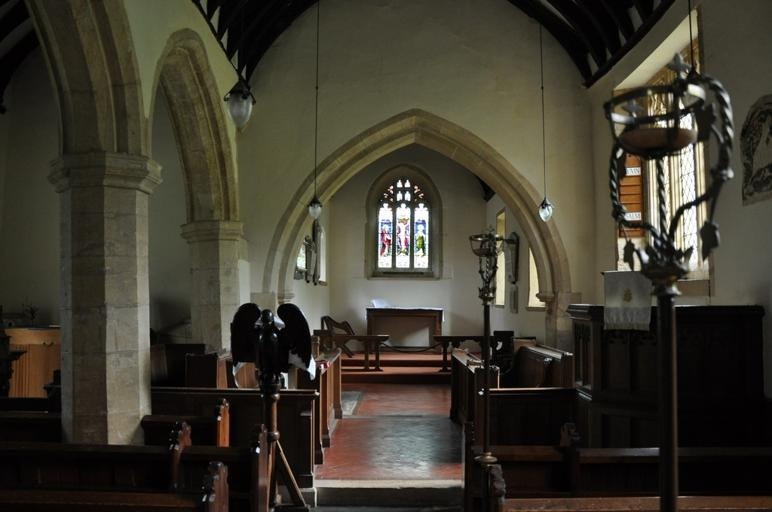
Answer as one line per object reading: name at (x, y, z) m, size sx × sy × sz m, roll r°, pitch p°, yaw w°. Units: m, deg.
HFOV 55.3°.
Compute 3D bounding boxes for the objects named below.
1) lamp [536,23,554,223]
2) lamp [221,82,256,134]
lamp at (2.587, -2.174, 12.046) m, size 0.162 × 3.221 × 0.311 m, roll -3°, pitch -7°, yaw 23°
lamp at (-1.676, -1.800, 8.353) m, size 0.303 × 0.680 × 0.932 m, roll 1°, pitch -7°, yaw -11°
